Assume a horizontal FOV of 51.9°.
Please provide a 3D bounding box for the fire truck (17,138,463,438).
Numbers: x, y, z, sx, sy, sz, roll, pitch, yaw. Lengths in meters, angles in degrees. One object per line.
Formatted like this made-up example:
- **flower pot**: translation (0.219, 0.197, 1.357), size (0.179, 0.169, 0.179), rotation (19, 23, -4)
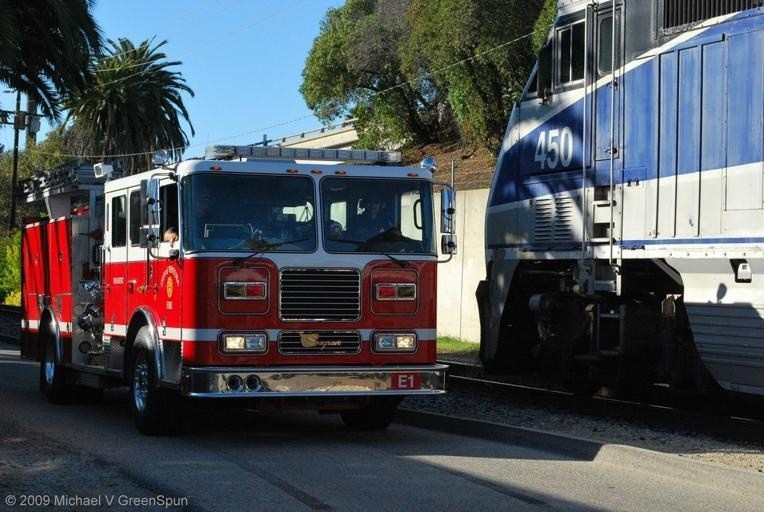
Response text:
- **fire truck**: translation (-2.656, 0.498, 12.287), size (7.352, 4.269, 2.947), rotation (1, 1, 40)
